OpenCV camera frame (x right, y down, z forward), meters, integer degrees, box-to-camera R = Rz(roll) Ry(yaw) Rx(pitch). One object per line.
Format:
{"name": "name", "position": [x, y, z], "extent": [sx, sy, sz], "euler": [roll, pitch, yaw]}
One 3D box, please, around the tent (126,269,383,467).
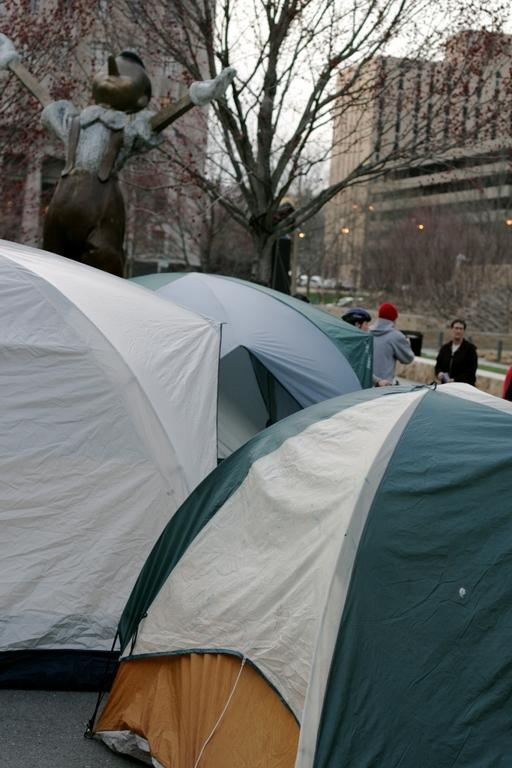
{"name": "tent", "position": [-0.029, -0.479, 7.825], "extent": [2.733, 1.133, 2.378], "euler": [-10, 23, -30]}

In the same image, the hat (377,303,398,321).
{"name": "hat", "position": [1.721, -0.948, 8.506], "extent": [0.270, 0.251, 0.290], "euler": [1, -20, 16]}

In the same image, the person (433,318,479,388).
{"name": "person", "position": [2.621, -0.400, 8.483], "extent": [0.524, 0.869, 0.906], "euler": [8, 5, 16]}
